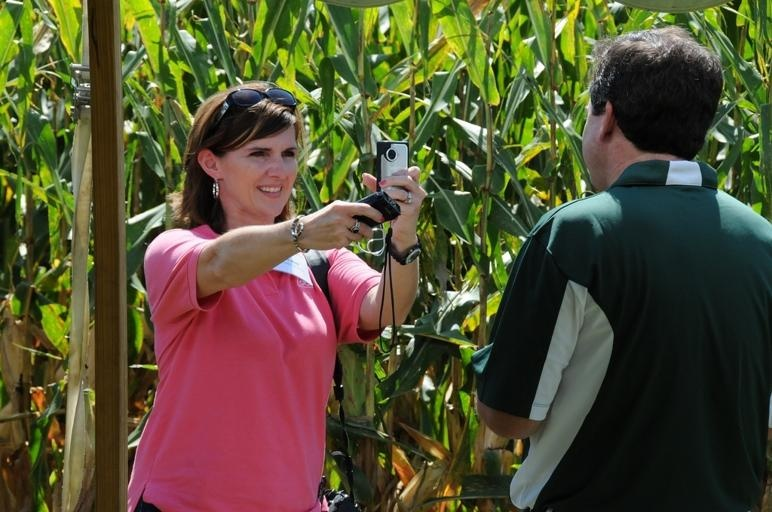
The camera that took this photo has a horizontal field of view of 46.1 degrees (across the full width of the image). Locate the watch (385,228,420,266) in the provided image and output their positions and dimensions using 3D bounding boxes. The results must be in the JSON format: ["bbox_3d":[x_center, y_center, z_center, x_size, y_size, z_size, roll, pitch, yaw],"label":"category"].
[{"bbox_3d":[0.067,-0.047,3.207,0.053,0.123,0.109,-33,48,-29],"label":"watch"}]

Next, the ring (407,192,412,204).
[{"bbox_3d":[0.081,-0.193,3.096,0.021,0.033,0.010,2,-1,-37],"label":"ring"}]

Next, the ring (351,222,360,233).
[{"bbox_3d":[-0.098,-0.088,2.965,0.020,0.035,0.032,15,-12,-12],"label":"ring"}]

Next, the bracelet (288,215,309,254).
[{"bbox_3d":[-0.285,-0.069,2.951,0.056,0.103,0.102,-10,-38,2],"label":"bracelet"}]
